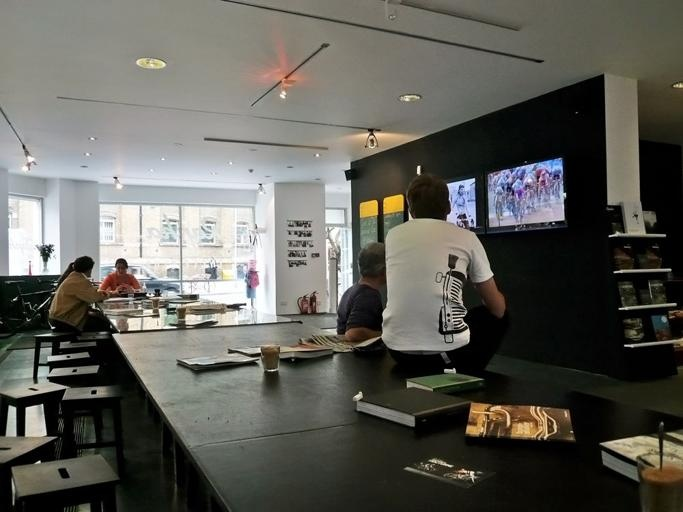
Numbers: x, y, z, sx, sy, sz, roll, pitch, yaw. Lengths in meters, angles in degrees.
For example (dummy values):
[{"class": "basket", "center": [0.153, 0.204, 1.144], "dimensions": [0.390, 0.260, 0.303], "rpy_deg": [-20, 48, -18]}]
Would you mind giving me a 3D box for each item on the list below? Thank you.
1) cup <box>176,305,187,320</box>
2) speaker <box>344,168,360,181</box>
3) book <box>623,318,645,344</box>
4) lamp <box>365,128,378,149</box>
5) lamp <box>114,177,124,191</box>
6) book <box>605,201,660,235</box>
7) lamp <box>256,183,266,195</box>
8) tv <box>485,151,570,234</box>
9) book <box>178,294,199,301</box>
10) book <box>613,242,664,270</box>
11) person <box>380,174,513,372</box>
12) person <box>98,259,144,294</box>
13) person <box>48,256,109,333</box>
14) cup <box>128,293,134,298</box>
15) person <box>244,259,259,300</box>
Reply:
[{"class": "cup", "center": [-1.208, 0.435, 3.794], "dimensions": [0.117, 0.120, 0.113], "rpy_deg": [1, -6, 0]}, {"class": "speaker", "center": [0.205, -1.625, 9.653], "dimensions": [0.296, 0.232, 0.420], "rpy_deg": [-3, 3, -10]}, {"class": "book", "center": [2.995, 0.768, 5.029], "dimensions": [0.225, 0.298, 0.176], "rpy_deg": [2, -10, -9]}, {"class": "lamp", "center": [0.434, -1.766, 7.342], "dimensions": [0.248, 0.243, 0.241], "rpy_deg": [-2, -3, 41]}, {"class": "lamp", "center": [-5.168, -1.694, 11.323], "dimensions": [0.186, 0.310, 0.217], "rpy_deg": [-1, -35, -33]}, {"class": "book", "center": [3.009, -0.370, 5.221], "dimensions": [0.441, 0.414, 0.105], "rpy_deg": [1, -2, -6]}, {"class": "lamp", "center": [-2.002, -1.688, 12.252], "dimensions": [0.225, 0.248, 0.225], "rpy_deg": [-1, 1, 40]}, {"class": "tv", "center": [2.242, -0.749, 5.814], "dimensions": [0.048, 0.750, 1.051], "rpy_deg": [2, -4, -30]}, {"class": "book", "center": [-2.078, 0.548, 6.641], "dimensions": [0.216, 0.046, 0.920], "rpy_deg": [-2, 0, -20]}, {"class": "book", "center": [3.085, 0.016, 5.142], "dimensions": [0.450, 0.318, 0.109], "rpy_deg": [2, -12, -13]}, {"class": "person", "center": [0.490, 0.075, 2.420], "dimensions": [0.623, 0.854, 0.722], "rpy_deg": [3, -1, 21]}, {"class": "person", "center": [-3.607, 0.379, 7.993], "dimensions": [0.764, 0.653, 0.642], "rpy_deg": [2, 2, 33]}, {"class": "person", "center": [-3.057, 0.418, 5.843], "dimensions": [0.688, 0.820, 0.665], "rpy_deg": [5, 1, -20]}, {"class": "cup", "center": [-2.894, 0.536, 6.731], "dimensions": [0.079, 0.059, 0.079], "rpy_deg": [1, -4, 0]}, {"class": "person", "center": [-2.324, 0.683, 12.788], "dimensions": [0.326, 0.886, 0.609], "rpy_deg": [-2, -1, -15]}]
